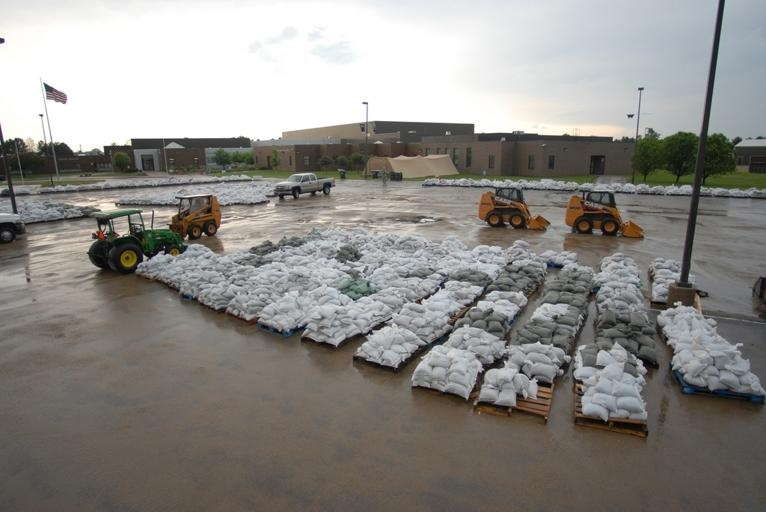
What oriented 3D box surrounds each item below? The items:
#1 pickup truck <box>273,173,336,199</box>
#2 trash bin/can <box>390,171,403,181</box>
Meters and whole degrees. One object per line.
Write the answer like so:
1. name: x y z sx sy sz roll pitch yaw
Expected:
1. pickup truck: -7.546 -6.714 36.938 2.546 1.998 5.942 6 11 39
2. trash bin/can: 1.839 -10.965 52.561 1.587 1.176 1.085 -4 13 -4
